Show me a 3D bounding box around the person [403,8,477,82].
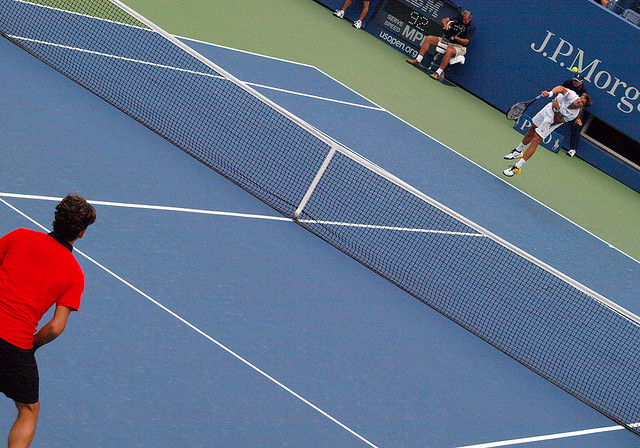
[{"bbox_3d":[3.185,-4.556,22.390,1.020,1.993,0.754,45,30,25],"label":"person"}]

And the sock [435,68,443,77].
[{"bbox_3d":[3.047,-3.879,22.650,0.161,0.197,0.189,30,27,-3],"label":"sock"}]

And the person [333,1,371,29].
[{"bbox_3d":[0.910,-5.498,23.552,0.486,0.920,0.276,35,1,7],"label":"person"}]

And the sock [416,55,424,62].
[{"bbox_3d":[2.587,-4.236,22.866,0.121,0.193,0.234,42,29,21],"label":"sock"}]

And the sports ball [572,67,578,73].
[{"bbox_3d":[5.815,-3.527,20.360,0.161,0.123,0.157,-2,4,0],"label":"sports ball"}]

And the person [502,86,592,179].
[{"bbox_3d":[4.733,-1.969,19.579,2.559,0.698,1.359,-34,82,-23],"label":"person"}]
